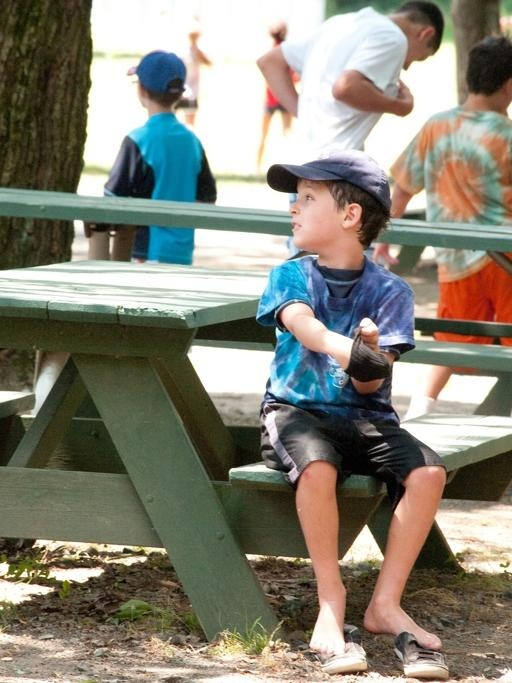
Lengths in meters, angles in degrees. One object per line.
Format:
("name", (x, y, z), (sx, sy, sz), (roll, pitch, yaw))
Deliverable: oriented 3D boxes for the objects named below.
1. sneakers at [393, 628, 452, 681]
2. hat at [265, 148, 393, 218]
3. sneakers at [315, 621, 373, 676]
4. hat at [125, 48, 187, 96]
("sneakers", (0.362, 0.711, 2.211), (0.067, 0.049, 0.157), (15, -6, -19))
("hat", (0.195, -0.428, 2.568), (0.322, 0.117, 0.177), (9, -5, -7))
("sneakers", (0.193, 0.712, 2.241), (0.116, 0.091, 0.164), (3, 3, 7))
("hat", (-0.510, -1.383, 5.061), (0.232, 0.144, 0.289), (-16, 38, -33))
